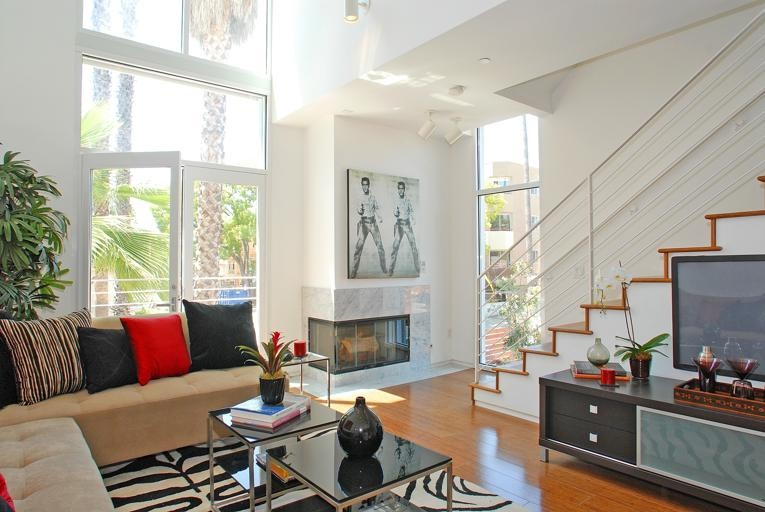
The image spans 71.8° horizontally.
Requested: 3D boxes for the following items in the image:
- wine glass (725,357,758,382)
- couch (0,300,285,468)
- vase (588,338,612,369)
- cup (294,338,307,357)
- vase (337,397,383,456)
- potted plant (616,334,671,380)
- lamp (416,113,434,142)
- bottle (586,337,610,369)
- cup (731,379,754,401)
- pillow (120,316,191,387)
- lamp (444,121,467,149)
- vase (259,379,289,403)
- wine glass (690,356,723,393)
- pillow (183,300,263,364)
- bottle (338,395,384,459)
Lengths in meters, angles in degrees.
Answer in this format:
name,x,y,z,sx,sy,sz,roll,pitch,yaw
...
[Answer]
name,x,y,z,sx,sy,sz,roll,pitch,yaw
wine glass,2.735,0.850,4.034,0.186,0.148,0.182,1,-4,1
couch,-2.059,0.919,4.470,1.452,0.676,0.642,-1,-2,-43
vase,1.885,0.847,4.640,0.241,0.304,0.234,1,-1,4
cup,-0.823,0.926,5.365,0.157,0.169,0.154,0,0,0
vase,-0.187,1.160,3.702,0.378,0.424,0.357,1,-8,-10
potted plant,2.290,0.837,4.616,0.406,0.279,0.405,2,-3,-27
lamp,0.559,-1.612,6.656,0.174,0.279,0.415,1,7,6
bottle,1.887,0.842,4.629,0.241,0.305,0.235,1,0,0
cup,2.674,0.988,3.934,0.149,0.115,0.161,1,7,0
pillow,-2.120,0.851,4.847,0.185,0.570,0.617,-29,-10,31
lamp,0.965,-1.595,6.995,0.180,0.175,0.327,-19,4,-32
vase,-0.842,1.024,4.063,0.201,0.147,0.180,-1,-2,-8
wine glass,2.505,0.902,4.076,0.157,0.244,0.145,0,7,-3
pillow,-1.594,0.747,5.150,0.664,0.618,0.246,2,-22,-33
bottle,-0.241,1.157,3.688,0.396,0.434,0.365,1,-8,-8
